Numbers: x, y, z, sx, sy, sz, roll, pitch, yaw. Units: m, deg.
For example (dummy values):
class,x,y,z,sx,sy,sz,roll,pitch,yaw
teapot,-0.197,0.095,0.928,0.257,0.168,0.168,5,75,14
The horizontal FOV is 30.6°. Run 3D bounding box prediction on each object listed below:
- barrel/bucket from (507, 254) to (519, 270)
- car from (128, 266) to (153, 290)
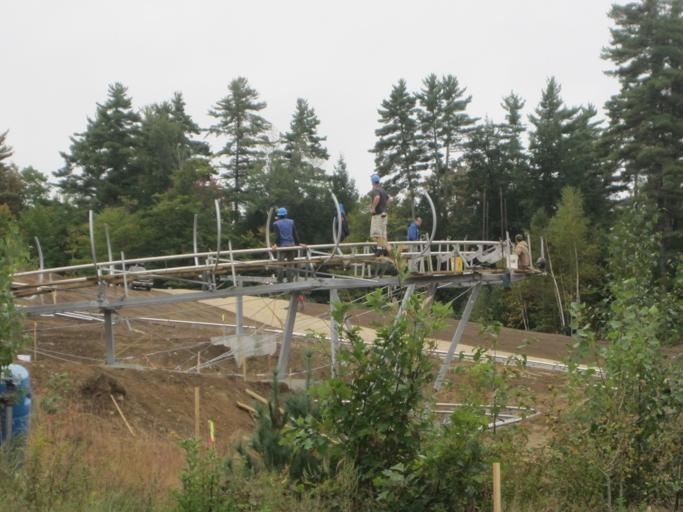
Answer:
class,x,y,z,sx,sy,sz,roll,pitch,yaw
barrel/bucket,7.871,0.307,57.201,0.582,0.720,0.331,0,-4,-19
car,-9.663,1.121,59.477,1.132,1.178,2.244,1,-6,-14
